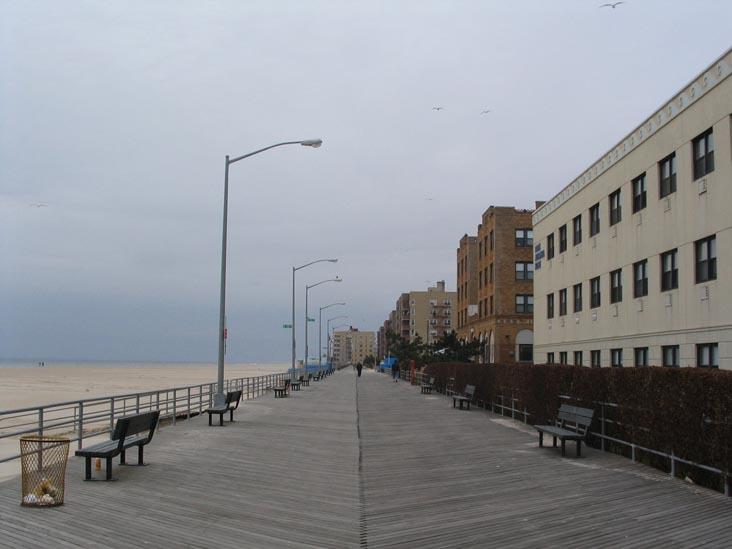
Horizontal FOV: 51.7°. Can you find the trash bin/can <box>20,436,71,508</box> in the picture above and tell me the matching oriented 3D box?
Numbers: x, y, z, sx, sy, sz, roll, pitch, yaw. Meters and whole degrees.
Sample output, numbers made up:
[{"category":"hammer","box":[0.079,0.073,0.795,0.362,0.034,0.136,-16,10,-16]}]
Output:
[{"category":"trash bin/can","box":[-5.957,3.576,13.881,0.834,1.198,0.817,3,-1,-18]}]

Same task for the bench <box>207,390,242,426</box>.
[{"category":"bench","box":[-4.953,4.644,26.341,0.810,1.236,2.177,2,-5,1]}]
